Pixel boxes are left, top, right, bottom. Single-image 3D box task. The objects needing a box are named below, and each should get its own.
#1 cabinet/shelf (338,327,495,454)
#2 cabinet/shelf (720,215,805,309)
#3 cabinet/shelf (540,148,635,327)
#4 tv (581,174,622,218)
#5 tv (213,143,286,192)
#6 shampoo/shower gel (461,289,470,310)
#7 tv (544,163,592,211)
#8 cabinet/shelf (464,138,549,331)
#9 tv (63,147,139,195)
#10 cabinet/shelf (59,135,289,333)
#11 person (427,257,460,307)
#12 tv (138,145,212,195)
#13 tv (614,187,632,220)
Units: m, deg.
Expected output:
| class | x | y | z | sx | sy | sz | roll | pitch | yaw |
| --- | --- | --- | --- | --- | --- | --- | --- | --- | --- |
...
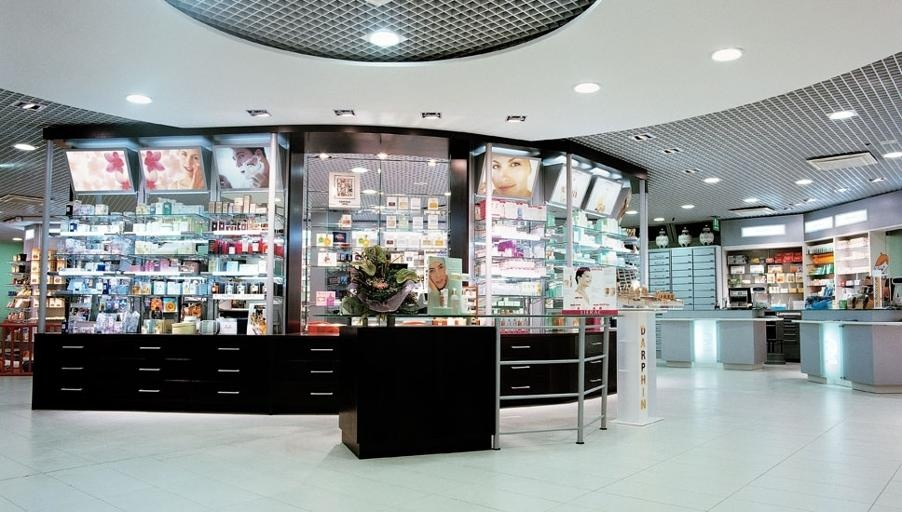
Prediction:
| class | x | y | z | sx | sy | sz | roll | pitch | yaw |
| --- | --- | --- | --- | --- | --- | --- | --- | --- | --- |
| cabinet/shelf | -0.638 | 1.706 | 7.330 | 1.253 | 1.491 | 2.189 | -13 | -18 | 43 |
| cabinet/shelf | 9.319 | 0.136 | 17.023 | 2.185 | 2.674 | 0.700 | 0 | -1 | 26 |
| cabinet/shelf | 2.585 | -0.310 | 11.396 | 1.305 | 2.940 | 3.690 | 2 | -2 | 36 |
| tv | 2.992 | -1.240 | 11.667 | 1.023 | 0.753 | 0.356 | 8 | 14 | -43 |
| tv | -3.364 | -1.469 | 9.516 | 1.436 | 0.794 | 0.056 | 3 | 8 | 25 |
| shampoo/shower gel | 0.223 | 0.699 | 8.919 | 0.102 | 0.301 | 0.287 | 0 | 0 | 13 |
| tv | 2.146 | -1.312 | 10.657 | 0.225 | 0.584 | 1.129 | -8 | -5 | 41 |
| cabinet/shelf | 1.051 | -0.656 | 10.163 | 1.110 | 2.106 | 0.251 | -2 | 1 | -14 |
| tv | -5.961 | -1.445 | 9.731 | 1.391 | 0.784 | 0.087 | 2 | 10 | 16 |
| cabinet/shelf | -4.496 | -0.295 | 9.503 | 4.169 | 3.090 | 1.208 | 0 | -2 | 3 |
| person | -0.091 | 0.389 | 7.752 | 0.287 | 0.744 | 0.665 | 0 | 0 | 37 |
| tv | -4.642 | -1.448 | 9.699 | 1.496 | 0.834 | 0.404 | 3 | -7 | 20 |
| tv | 3.655 | -1.013 | 12.291 | 0.185 | 0.699 | 0.655 | 22 | -23 | 15 |
